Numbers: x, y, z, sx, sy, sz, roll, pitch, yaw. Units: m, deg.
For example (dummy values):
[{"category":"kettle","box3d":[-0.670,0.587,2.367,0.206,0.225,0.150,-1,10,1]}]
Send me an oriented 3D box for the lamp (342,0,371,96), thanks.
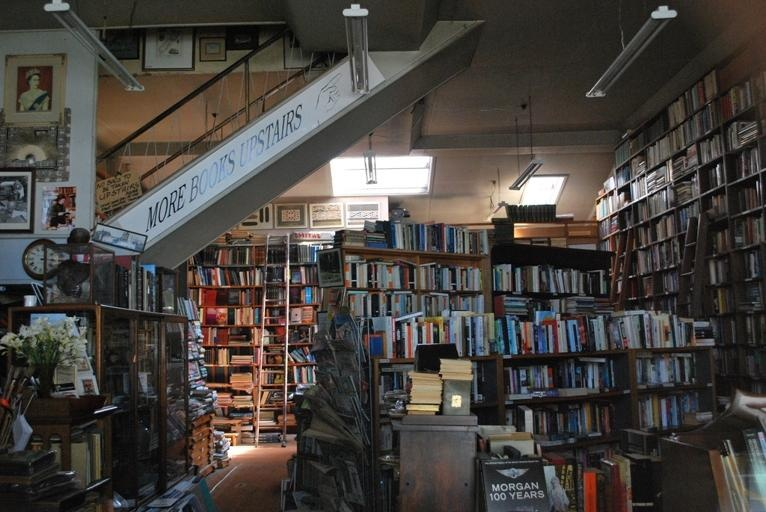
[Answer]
[{"category":"lamp","box3d":[-0.288,-2.240,8.221,0.289,0.287,0.888,-9,-30,-4]}]
